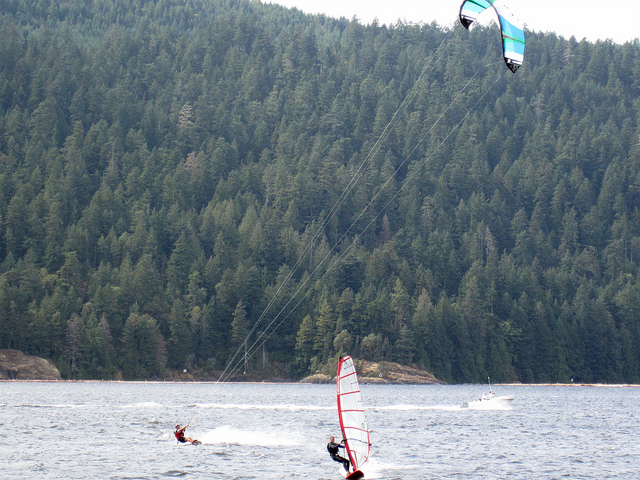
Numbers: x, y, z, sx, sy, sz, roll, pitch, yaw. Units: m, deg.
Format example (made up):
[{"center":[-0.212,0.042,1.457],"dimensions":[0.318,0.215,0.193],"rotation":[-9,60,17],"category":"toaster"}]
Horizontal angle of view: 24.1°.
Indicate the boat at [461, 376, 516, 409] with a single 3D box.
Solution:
[{"center":[36.355,33.093,325.001],"dimensions":[10.929,7.696,3.724],"rotation":[-6,-5,18],"category":"boat"}]
